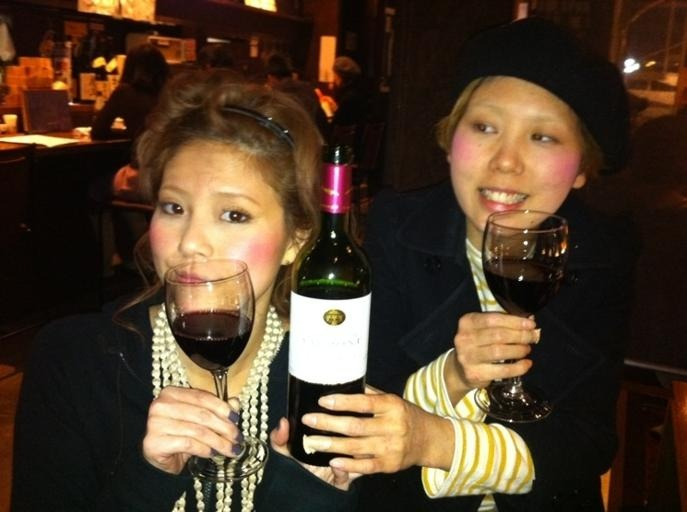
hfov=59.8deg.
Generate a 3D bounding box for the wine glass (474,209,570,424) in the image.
[{"bbox_3d":[0.537,0.188,1.847,0.248,0.659,0.308,3,9,-2],"label":"wine glass"}]

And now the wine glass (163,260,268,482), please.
[{"bbox_3d":[-0.335,0.287,1.619,0.279,0.562,0.244,7,10,21],"label":"wine glass"}]

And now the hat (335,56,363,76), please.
[{"bbox_3d":[-0.007,-2.103,6.612,0.243,0.110,0.322,-9,30,-16],"label":"hat"}]

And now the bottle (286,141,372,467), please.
[{"bbox_3d":[-0.033,0.149,1.489,0.206,0.836,0.225,3,9,-1],"label":"bottle"}]
